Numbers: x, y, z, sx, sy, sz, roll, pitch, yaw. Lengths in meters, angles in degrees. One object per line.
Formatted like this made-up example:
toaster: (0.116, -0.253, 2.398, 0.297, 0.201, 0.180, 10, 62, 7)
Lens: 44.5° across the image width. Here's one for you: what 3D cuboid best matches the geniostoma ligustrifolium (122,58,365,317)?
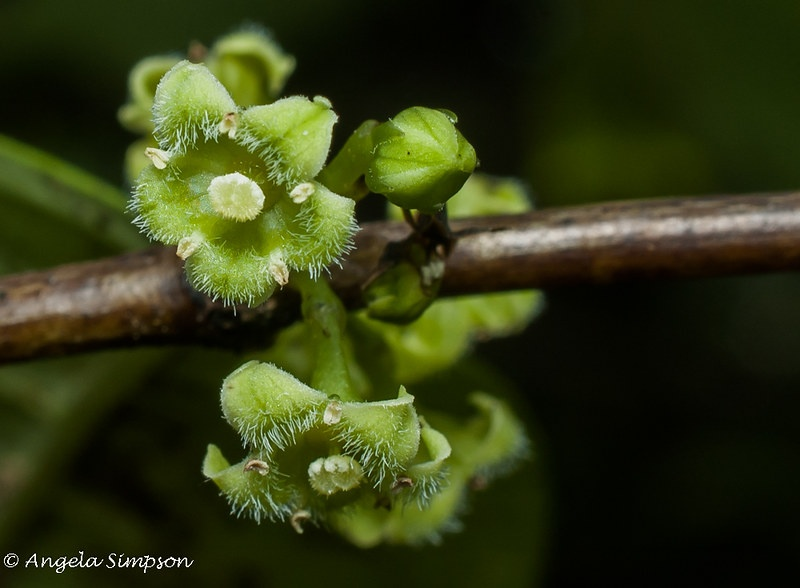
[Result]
geniostoma ligustrifolium: (-0.280, -0.198, 1.817, 0.418, 0.354, 0.278, 16, 42, -8)
